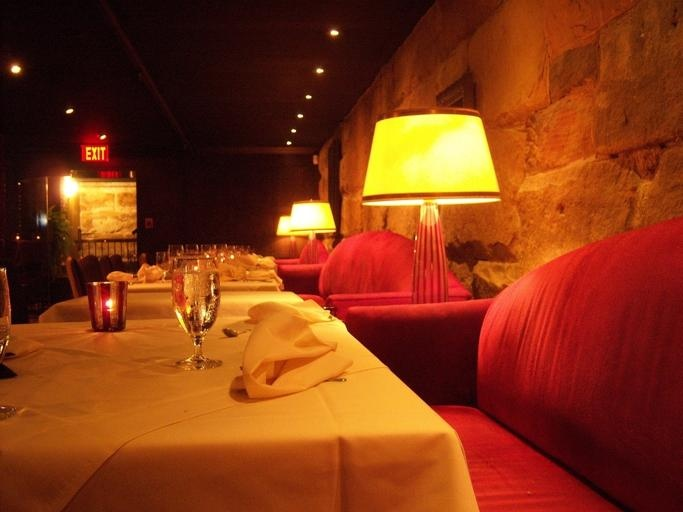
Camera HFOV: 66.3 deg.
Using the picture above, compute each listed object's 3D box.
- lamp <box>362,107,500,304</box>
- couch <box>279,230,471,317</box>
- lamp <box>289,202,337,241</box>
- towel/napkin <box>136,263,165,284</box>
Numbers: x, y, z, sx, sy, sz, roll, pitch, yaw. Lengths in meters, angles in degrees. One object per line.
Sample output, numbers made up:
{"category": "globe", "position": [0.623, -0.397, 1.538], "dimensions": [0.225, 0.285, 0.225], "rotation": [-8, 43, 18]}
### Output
{"category": "lamp", "position": [0.303, -0.143, 2.206], "dimensions": [0.595, 0.914, 0.621], "rotation": [0, -4, 10]}
{"category": "couch", "position": [0.151, 0.063, 3.122], "dimensions": [0.901, 0.416, 0.299], "rotation": [7, 1, 43]}
{"category": "lamp", "position": [-0.294, -0.375, 5.210], "dimensions": [0.366, 0.325, 0.401], "rotation": [0, 0, -4]}
{"category": "towel/napkin", "position": [-0.981, 0.096, 2.670], "dimensions": [0.112, 0.094, 0.123], "rotation": [4, -41, -21]}
